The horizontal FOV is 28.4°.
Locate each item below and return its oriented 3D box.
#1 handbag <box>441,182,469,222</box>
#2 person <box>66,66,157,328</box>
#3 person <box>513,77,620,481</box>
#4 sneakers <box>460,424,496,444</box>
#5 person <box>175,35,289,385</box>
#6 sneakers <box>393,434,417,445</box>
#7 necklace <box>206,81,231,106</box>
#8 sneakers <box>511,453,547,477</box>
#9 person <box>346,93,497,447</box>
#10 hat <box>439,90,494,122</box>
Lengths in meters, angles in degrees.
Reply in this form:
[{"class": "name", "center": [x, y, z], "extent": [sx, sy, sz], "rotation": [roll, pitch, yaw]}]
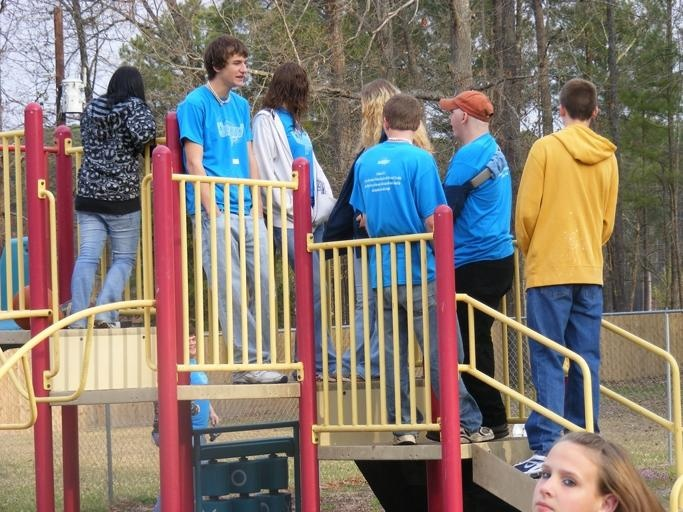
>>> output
[{"class": "handbag", "center": [1.184, -0.558, 14.225], "extent": [0.274, 0.555, 0.394], "rotation": [1, 0, -1]}, {"class": "person", "center": [-2.462, -0.722, 14.412], "extent": [0.886, 2.640, 0.424], "rotation": [-1, 2, -14]}, {"class": "person", "center": [2.264, 0.199, 13.644], "extent": [1.060, 4.007, 0.669], "rotation": [-1, 2, -2]}, {"class": "sneakers", "center": [1.366, 1.849, 13.819], "extent": [0.400, 0.206, 0.140], "rotation": [-5, 2, -30]}, {"class": "person", "center": [-1.205, -0.503, 14.103], "extent": [0.967, 3.655, 0.815], "rotation": [-1, 2, -9]}, {"class": "sneakers", "center": [0.646, 1.865, 13.781], "extent": [0.220, 0.121, 0.368], "rotation": [-1, 3, 3]}, {"class": "necklace", "center": [-1.291, -1.726, 14.303], "extent": [0.106, 0.253, 0.196], "rotation": [-43, 0, 23]}, {"class": "sneakers", "center": [1.896, 2.102, 13.460], "extent": [0.498, 0.245, 0.179], "rotation": [-4, -13, 44]}, {"class": "person", "center": [0.695, 0.118, 13.816], "extent": [1.257, 3.583, 0.625], "rotation": [1, 3, 31]}, {"class": "hat", "center": [1.342, -1.591, 14.258], "extent": [0.457, 0.258, 0.322], "rotation": [19, 15, 9]}]
